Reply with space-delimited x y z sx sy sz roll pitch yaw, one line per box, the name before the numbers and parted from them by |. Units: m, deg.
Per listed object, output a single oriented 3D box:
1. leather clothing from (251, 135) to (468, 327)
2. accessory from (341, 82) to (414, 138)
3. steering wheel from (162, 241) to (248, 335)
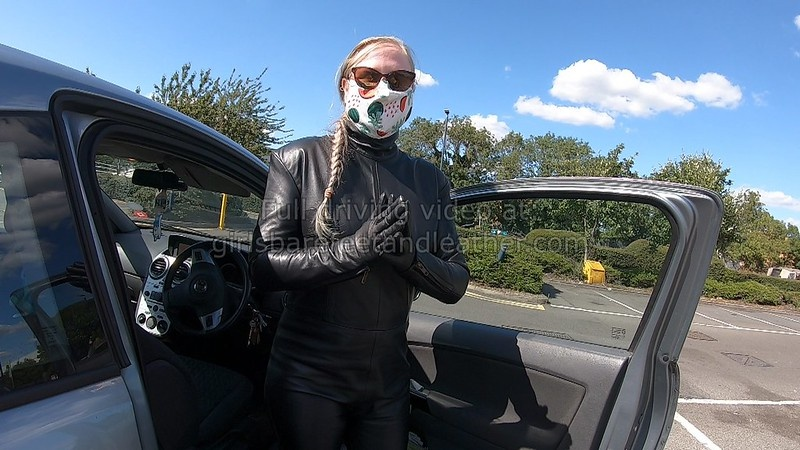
leather clothing | -0.215 0.042 2.017 1.069 0.990 0.624 13 -8 -23
accessory | -0.137 -0.713 2.262 0.386 0.293 0.488 -5 26 -22
steering wheel | -1.453 0.465 2.905 0.574 0.631 0.088 -8 -6 -5
